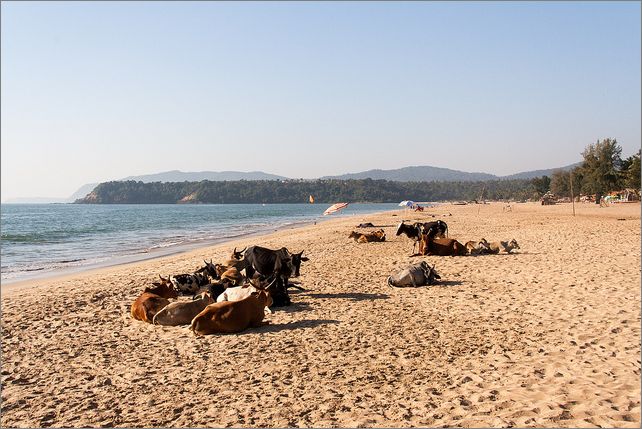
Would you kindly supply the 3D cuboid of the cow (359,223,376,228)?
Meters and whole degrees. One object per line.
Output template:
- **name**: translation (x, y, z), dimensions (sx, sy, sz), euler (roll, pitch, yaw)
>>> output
- **cow**: translation (3.773, 0.919, 38.004), dimensions (1.357, 0.395, 1.900), euler (-2, 2, 2)

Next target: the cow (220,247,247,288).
- **cow**: translation (-3.217, 2.097, 16.345), dimensions (0.778, 1.320, 1.756), euler (-2, 5, 2)

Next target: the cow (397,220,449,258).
- **cow**: translation (5.153, 1.021, 22.274), dimensions (2.534, 1.301, 0.593), euler (-6, 0, -6)

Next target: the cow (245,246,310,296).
- **cow**: translation (-1.760, 1.911, 15.900), dimensions (2.582, 1.477, 1.025), euler (3, -4, 30)

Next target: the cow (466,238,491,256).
- **cow**: translation (7.187, 1.505, 20.147), dimensions (0.526, 0.667, 1.285), euler (-2, -3, -41)

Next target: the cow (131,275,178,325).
- **cow**: translation (-5.338, 2.811, 13.726), dimensions (0.773, 1.110, 2.067), euler (11, -1, -17)

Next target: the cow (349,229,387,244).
- **cow**: translation (2.769, 1.357, 27.114), dimensions (2.023, 0.926, 0.840), euler (1, 7, 17)

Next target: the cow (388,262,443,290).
- **cow**: translation (3.293, 2.159, 15.805), dimensions (1.794, 0.668, 0.769), euler (-3, 2, -22)

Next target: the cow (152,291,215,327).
- **cow**: translation (-3.841, 2.901, 12.865), dimensions (1.739, 0.917, 0.620), euler (-17, 16, -33)

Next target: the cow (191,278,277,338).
- **cow**: translation (-2.354, 2.720, 12.618), dimensions (1.013, 1.239, 2.790), euler (7, 9, 41)

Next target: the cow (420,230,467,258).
- **cow**: translation (5.399, 1.450, 19.826), dimensions (2.261, 1.076, 0.814), euler (2, 0, 14)
